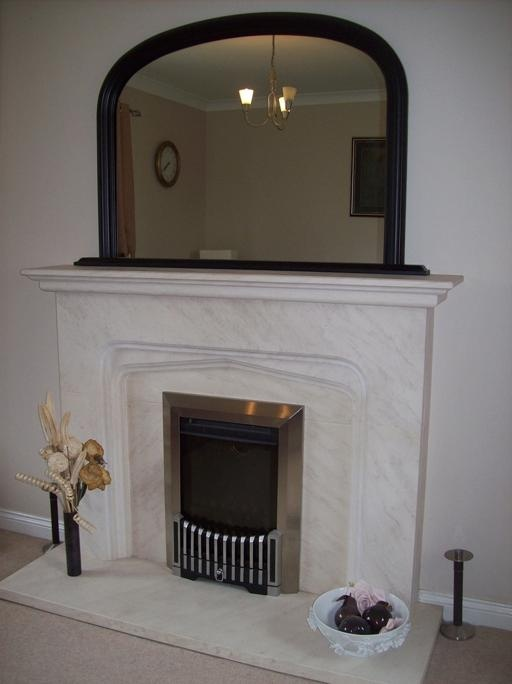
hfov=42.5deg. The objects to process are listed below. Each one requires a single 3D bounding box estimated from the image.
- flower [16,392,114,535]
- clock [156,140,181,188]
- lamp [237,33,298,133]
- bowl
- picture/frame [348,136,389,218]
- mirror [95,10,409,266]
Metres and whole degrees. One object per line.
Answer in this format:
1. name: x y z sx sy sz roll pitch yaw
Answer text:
1. flower: -0.647 0.423 2.271 0.294 0.483 0.370 -2 6 -11
2. clock: -0.298 -0.616 2.269 0.134 0.181 0.018 10 14 38
3. lamp: 0.041 -0.868 2.158 0.166 0.366 0.152 3 -13 -3
4. bowl: 0.290 0.815 1.889 0.282 0.127 0.229 1 6 13
5. picture/frame: 0.356 -0.522 2.073 0.114 0.259 0.006 1 -9 7
6. mirror: 0.025 -0.672 2.161 0.844 0.740 0.043 2 4 14
